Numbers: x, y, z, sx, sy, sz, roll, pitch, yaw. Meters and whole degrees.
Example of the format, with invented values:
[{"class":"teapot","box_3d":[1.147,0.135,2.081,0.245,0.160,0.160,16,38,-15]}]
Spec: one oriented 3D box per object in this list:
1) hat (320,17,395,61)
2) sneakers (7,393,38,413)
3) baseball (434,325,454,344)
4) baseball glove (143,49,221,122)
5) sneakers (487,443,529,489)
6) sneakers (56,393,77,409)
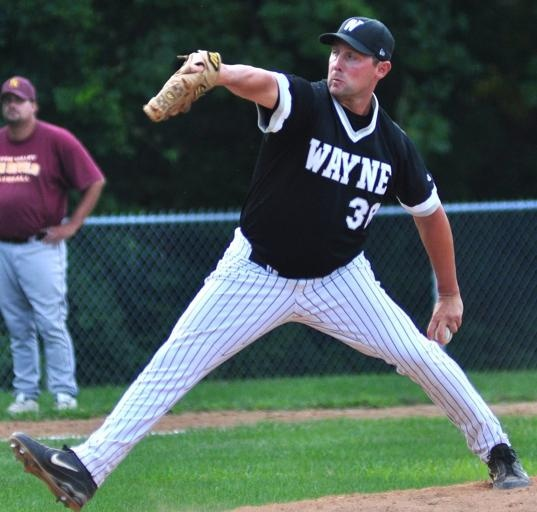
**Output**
[{"class":"hat","box_3d":[0.576,-1.354,7.543,0.382,0.216,0.276,27,11,-30]},{"class":"sneakers","box_3d":[-2.003,1.243,9.761,0.164,0.090,0.181,9,-32,-13]},{"class":"baseball","box_3d":[1.181,0.532,8.125,0.104,0.156,0.051,2,1,-17]},{"class":"baseball glove","box_3d":[-0.494,-0.994,7.097,0.528,0.242,0.326,-41,26,-12]},{"class":"sneakers","box_3d":[1.546,1.373,7.767,0.160,0.168,0.353,1,15,7]},{"class":"sneakers","box_3d":[-1.654,1.202,9.766,0.123,0.143,0.057,4,-22,-26]}]
